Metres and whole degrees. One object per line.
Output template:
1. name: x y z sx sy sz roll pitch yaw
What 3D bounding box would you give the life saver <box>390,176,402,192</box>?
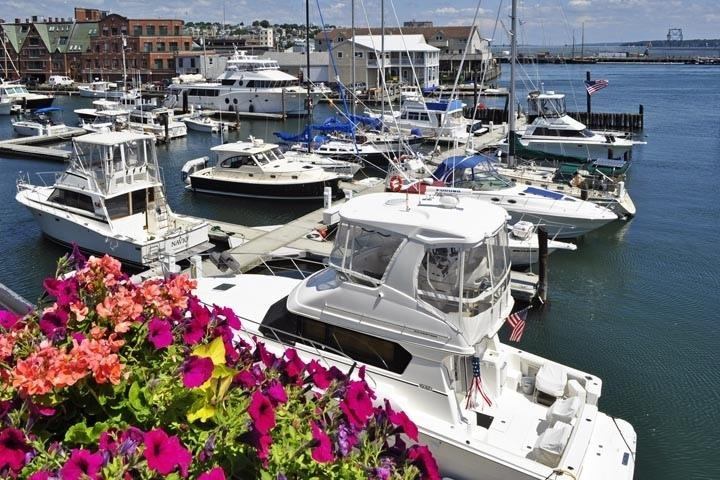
1. life saver: 1.234 -1.909 20.666 0.523 0.564 0.128 6 -5 37
